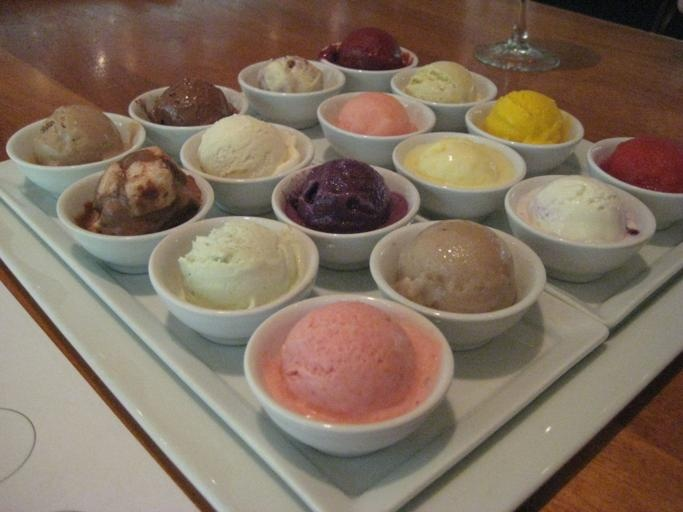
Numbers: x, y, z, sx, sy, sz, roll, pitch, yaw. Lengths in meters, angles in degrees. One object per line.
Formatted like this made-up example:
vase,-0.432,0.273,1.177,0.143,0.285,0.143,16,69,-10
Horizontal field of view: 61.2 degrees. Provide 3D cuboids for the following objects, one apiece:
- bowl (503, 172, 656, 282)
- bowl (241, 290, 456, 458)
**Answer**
bowl,0.660,-0.028,1.699,0.355,0.223,0.343,-1,35,1
bowl,0.010,0.260,1.295,0.442,0.151,0.343,-2,48,-4
